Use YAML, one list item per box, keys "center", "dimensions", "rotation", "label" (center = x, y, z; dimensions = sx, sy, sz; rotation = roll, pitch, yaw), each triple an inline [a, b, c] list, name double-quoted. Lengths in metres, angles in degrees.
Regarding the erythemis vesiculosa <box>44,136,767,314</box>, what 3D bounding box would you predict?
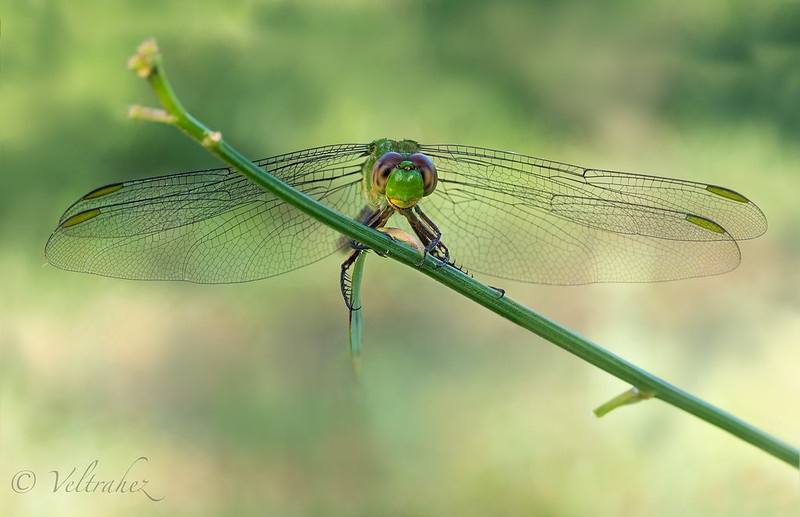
- center: [0.100, -0.091, 4.396]
  dimensions: [3.711, 1.086, 0.839]
  rotation: [-2, -43, -7]
  label: "erythemis vesiculosa"
